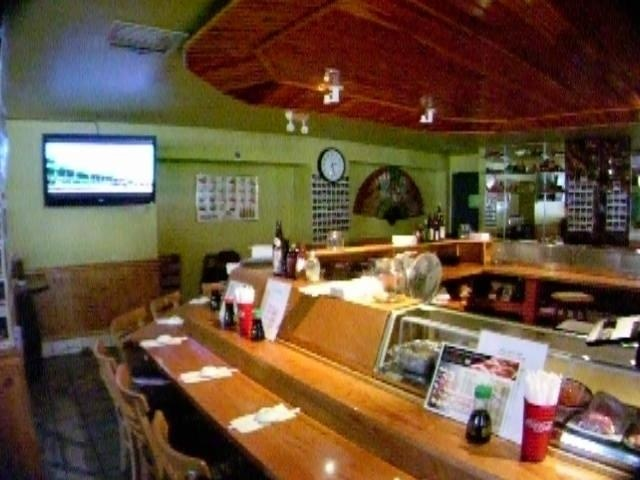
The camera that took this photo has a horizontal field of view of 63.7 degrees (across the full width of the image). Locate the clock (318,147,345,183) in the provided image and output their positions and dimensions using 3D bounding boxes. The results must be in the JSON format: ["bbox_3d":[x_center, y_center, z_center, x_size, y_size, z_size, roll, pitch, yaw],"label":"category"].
[{"bbox_3d":[0.210,-1.231,8.424,0.111,0.555,0.643,2,6,42],"label":"clock"}]

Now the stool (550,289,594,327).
[{"bbox_3d":[2.732,0.733,5.565,0.311,0.256,0.323,0,-1,35],"label":"stool"}]

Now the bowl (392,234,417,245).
[{"bbox_3d":[0.949,0.013,5.790,0.193,0.118,0.524,1,5,35],"label":"bowl"}]

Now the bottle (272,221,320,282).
[{"bbox_3d":[-0.190,0.068,3.897,0.333,0.426,0.631,-2,4,-6],"label":"bottle"}]

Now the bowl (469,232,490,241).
[{"bbox_3d":[2.114,-0.034,6.760,0.267,0.108,0.260,-2,4,0],"label":"bowl"}]

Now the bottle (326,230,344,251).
[{"bbox_3d":[0.162,0.009,4.996,0.150,0.192,0.160,0,4,0],"label":"bottle"}]
